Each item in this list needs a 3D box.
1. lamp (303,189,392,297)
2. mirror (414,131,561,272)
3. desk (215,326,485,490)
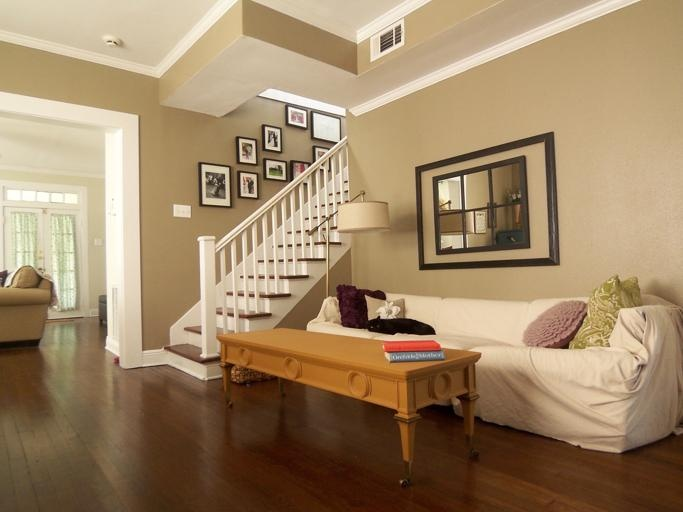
[{"bbox_3d":[0.034,-0.155,5.614,0.765,1.232,1.425,-2,4,-8],"label":"lamp"},{"bbox_3d":[1.473,-0.542,4.752,0.058,1.183,1.389,3,-6,-43],"label":"mirror"},{"bbox_3d":[0.000,0.907,3.406,1.791,0.780,0.600,1,5,36],"label":"desk"}]
